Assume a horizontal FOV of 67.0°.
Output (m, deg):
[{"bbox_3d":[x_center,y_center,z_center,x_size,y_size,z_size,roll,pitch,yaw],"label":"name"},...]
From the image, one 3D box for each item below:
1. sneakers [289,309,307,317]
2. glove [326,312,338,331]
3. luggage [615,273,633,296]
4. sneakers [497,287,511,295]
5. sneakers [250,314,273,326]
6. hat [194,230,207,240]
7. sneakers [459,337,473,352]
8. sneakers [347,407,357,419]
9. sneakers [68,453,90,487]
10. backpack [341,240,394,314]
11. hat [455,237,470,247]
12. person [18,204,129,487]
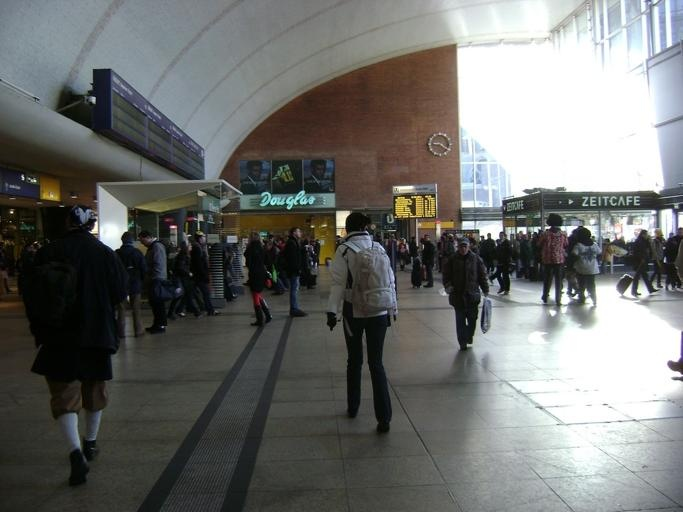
[{"bbox_3d":[-1.018,1.360,12.284,0.478,0.223,0.168,-1,2,0],"label":"sneakers"},{"bbox_3d":[-0.097,0.683,5.361,0.161,0.227,0.223,1,-5,-3],"label":"glove"},{"bbox_3d":[8.065,0.825,14.742,0.311,0.554,0.306,18,31,-24],"label":"luggage"},{"bbox_3d":[4.954,1.117,15.819,0.473,0.225,0.165,2,-4,-18],"label":"sneakers"},{"bbox_3d":[-1.725,1.382,11.108,0.491,0.228,0.165,2,2,19],"label":"sneakers"},{"bbox_3d":[-3.674,-0.556,13.474,0.232,0.135,0.344,2,-2,-21],"label":"hat"},{"bbox_3d":[2.055,1.430,8.268,0.261,0.273,0.132,-1,-5,38],"label":"sneakers"},{"bbox_3d":[0.115,1.662,5.453,0.052,0.061,0.137,2,1,4],"label":"sneakers"},{"bbox_3d":[-2.161,1.724,4.263,0.155,0.264,0.204,-2,2,-26],"label":"sneakers"},{"bbox_3d":[0.256,0.232,5.352,0.565,0.919,0.491,-4,-11,-17],"label":"backpack"},{"bbox_3d":[2.294,-0.263,9.723,0.380,0.215,0.571,1,1,10],"label":"hat"},{"bbox_3d":[-2.236,0.706,4.407,0.785,2.282,0.529,-2,2,-33],"label":"person"}]
